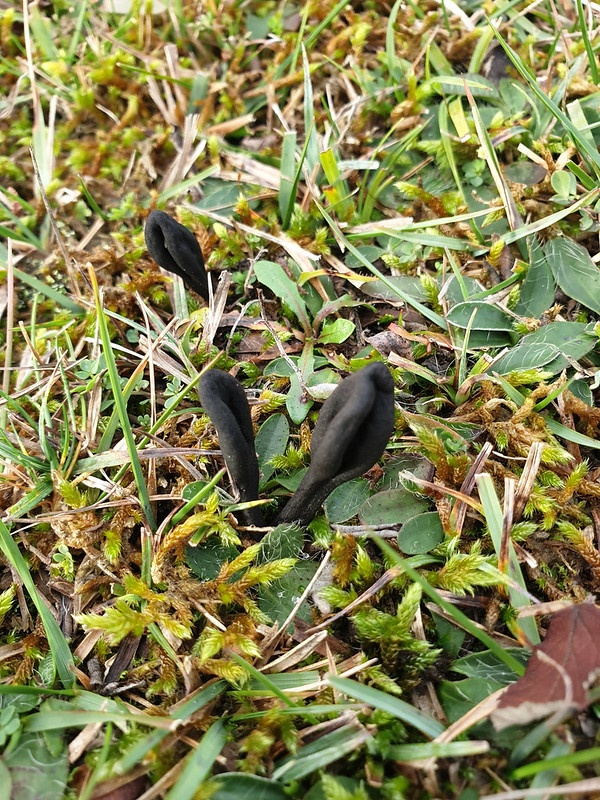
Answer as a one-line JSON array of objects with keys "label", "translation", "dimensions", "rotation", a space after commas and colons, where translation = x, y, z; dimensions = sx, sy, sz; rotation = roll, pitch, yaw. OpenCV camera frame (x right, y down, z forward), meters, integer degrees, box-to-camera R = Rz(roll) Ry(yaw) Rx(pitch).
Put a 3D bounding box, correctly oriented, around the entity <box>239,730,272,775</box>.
[{"label": "entity", "translation": [-0.100, 0.787, 1.636], "dimensions": [0.053, 0.084, 0.077], "rotation": [26, 110, 12]}]
